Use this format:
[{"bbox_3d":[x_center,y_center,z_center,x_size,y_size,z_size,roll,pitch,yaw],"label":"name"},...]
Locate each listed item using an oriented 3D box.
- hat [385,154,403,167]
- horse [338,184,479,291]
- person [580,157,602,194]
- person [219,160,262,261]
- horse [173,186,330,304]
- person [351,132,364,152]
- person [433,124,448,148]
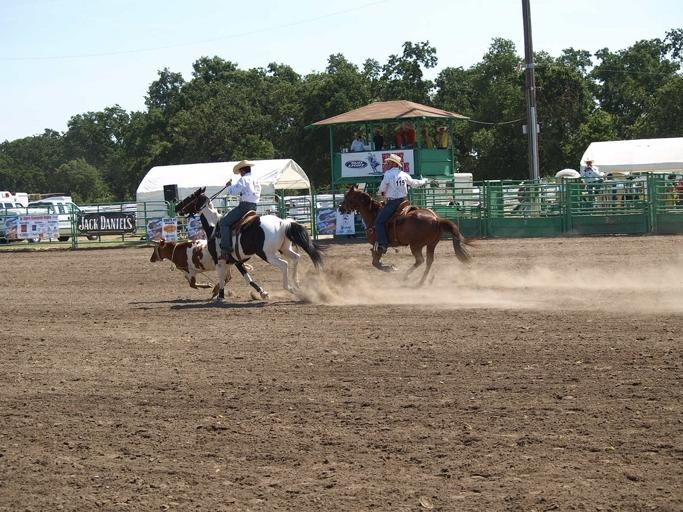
[{"bbox_3d":[1.049,-1.852,20.150,0.248,0.232,0.440,-2,4,10],"label":"hat"},{"bbox_3d":[1.251,-0.366,20.516,3.071,1.914,0.692,6,5,32],"label":"horse"},{"bbox_3d":[7.565,-2.250,30.740,0.496,1.160,0.423,-6,1,6],"label":"person"},{"bbox_3d":[-1.884,-0.842,19.230,0.848,1.841,0.584,-5,4,-40],"label":"person"},{"bbox_3d":[-1.805,-0.208,19.520,3.275,2.201,0.723,-2,2,28],"label":"horse"},{"bbox_3d":[0.586,-3.799,34.355,0.460,0.667,0.746,-2,4,0],"label":"person"},{"bbox_3d":[3.452,-3.967,34.642,0.329,0.751,0.544,-2,3,-4],"label":"person"}]
